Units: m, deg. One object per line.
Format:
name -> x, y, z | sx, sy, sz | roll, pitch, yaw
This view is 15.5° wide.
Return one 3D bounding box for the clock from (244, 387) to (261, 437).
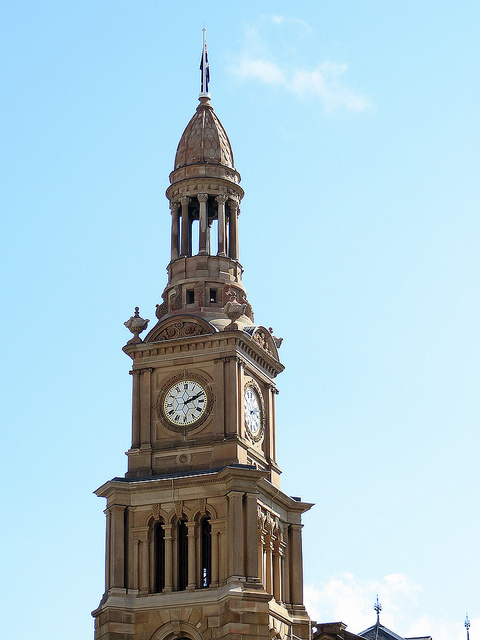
clock -> 0.474, 4.343, 79.694 | 0.188, 1.900, 2.372 | -9, -73, -27
